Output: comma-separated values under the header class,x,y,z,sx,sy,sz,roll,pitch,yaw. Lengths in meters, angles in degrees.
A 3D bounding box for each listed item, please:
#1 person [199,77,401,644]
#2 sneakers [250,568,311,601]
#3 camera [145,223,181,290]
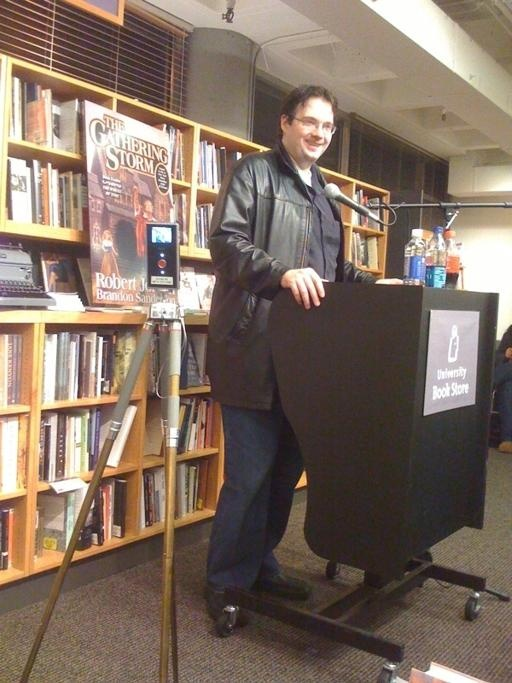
class,x,y,z,sx,sy,sz,roll,pitch,yaw
person,0.113,0.061,1.641,0.548,1.677,0.467,-6,11,-44
sneakers,0.086,0.833,1.867,0.238,0.091,0.079,4,34,-2
camera,-0.217,-0.198,1.249,0.073,0.151,0.053,0,8,-10
